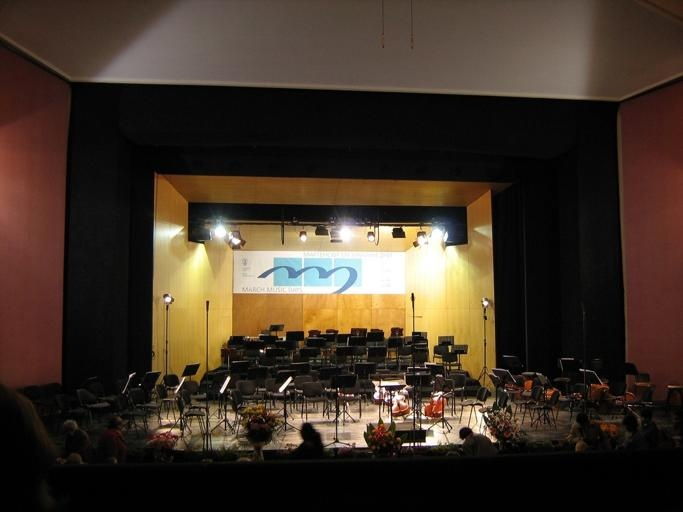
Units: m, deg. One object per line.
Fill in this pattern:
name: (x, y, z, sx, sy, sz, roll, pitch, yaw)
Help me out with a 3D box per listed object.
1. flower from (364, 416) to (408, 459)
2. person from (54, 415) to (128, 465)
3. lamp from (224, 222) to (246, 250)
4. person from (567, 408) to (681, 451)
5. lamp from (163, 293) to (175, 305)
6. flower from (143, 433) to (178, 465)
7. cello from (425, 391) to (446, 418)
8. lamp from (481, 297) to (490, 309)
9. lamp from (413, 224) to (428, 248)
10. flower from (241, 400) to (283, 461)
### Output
flower: (0.656, 2.788, 9.805, 0.508, 0.536, 0.691, 0, -7, 5)
person: (-3.959, 2.971, 10.054, 0.952, 1.023, 0.939, 6, -15, -41)
lamp: (-3.290, -0.632, 19.495, 0.518, 0.866, 1.999, 2, -4, -10)
person: (4.794, 2.930, 10.615, 1.056, 0.498, 1.134, -4, -7, 18)
lamp: (-4.248, 1.057, 15.467, 0.149, 0.226, 0.276, -21, 12, -25)
flower: (-2.832, 2.992, 9.955, 0.338, 0.547, 1.192, 5, -10, -13)
cello: (1.995, 3.166, 13.450, 0.333, 0.233, 0.759, 8, -32, 7)
lamp: (3.958, 1.301, 17.379, 0.265, 0.307, 0.217, -16, -10, -3)
lamp: (2.448, -0.609, 19.460, 0.356, 0.708, 0.229, 4, 2, 22)
flower: (-1.311, 2.888, 10.202, 0.595, 0.897, 0.608, -3, -6, 43)
